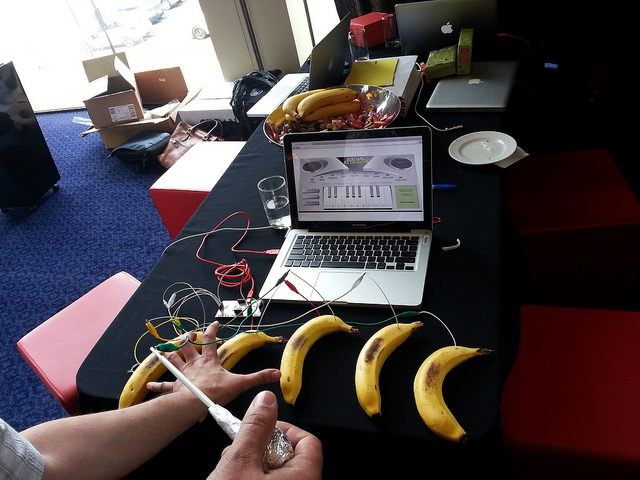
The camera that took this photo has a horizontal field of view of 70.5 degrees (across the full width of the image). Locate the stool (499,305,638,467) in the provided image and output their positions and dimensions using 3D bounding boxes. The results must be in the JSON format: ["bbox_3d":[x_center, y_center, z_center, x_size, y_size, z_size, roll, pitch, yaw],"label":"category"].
[{"bbox_3d":[0.786,0.525,1.456,0.388,0.267,0.418,3,47,20],"label":"stool"}]

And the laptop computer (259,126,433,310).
[{"bbox_3d":[0.134,0.028,1.526,0.575,0.456,0.530,3,46,14],"label":"laptop computer"}]

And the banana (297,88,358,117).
[{"bbox_3d":[0.036,-0.584,1.948,0.221,0.063,0.060,-18,54,-7],"label":"banana"}]

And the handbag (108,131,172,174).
[{"bbox_3d":[-1.394,-0.639,3.597,0.346,0.199,0.398,7,52,23],"label":"handbag"}]

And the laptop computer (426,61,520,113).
[{"bbox_3d":[0.694,-0.698,2.047,0.331,0.062,0.458,12,49,22],"label":"laptop computer"}]

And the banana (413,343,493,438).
[{"bbox_3d":[0.315,0.362,1.122,0.156,0.063,0.250,7,45,26],"label":"banana"}]

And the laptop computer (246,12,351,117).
[{"bbox_3d":[-0.069,-0.874,2.248,0.361,0.287,0.486,17,37,22],"label":"laptop computer"}]

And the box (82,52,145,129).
[{"bbox_3d":[-1.672,-1.183,3.602,0.413,0.437,0.566,-21,44,-12],"label":"box"}]

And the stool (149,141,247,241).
[{"bbox_3d":[-0.592,-0.231,2.207,0.324,0.456,0.481,13,49,17],"label":"stool"}]

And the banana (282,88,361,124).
[{"bbox_3d":[0.013,-0.587,1.969,0.341,0.111,0.131,-16,43,-5],"label":"banana"}]

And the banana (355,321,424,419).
[{"bbox_3d":[0.161,0.314,1.190,0.124,0.064,0.307,11,41,27],"label":"banana"}]

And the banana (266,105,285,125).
[{"bbox_3d":[-0.200,-0.561,2.058,0.080,0.029,0.056,-51,44,-8],"label":"banana"}]

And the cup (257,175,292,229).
[{"bbox_3d":[-0.154,-0.123,1.564,0.108,0.183,0.111,-6,35,4],"label":"cup"}]

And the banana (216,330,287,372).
[{"bbox_3d":[-0.198,0.292,1.252,0.090,0.042,0.164,29,50,36],"label":"banana"}]
